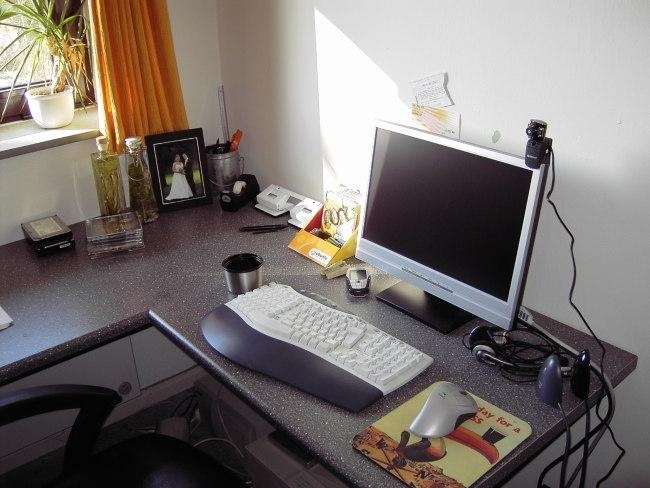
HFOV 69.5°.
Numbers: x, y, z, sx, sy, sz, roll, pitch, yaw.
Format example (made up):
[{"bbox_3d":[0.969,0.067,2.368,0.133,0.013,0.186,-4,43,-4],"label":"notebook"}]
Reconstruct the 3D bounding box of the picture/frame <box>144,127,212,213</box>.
[{"bbox_3d":[-0.625,-0.305,1.944,0.288,0.402,0.025,-12,21,-20],"label":"picture/frame"}]

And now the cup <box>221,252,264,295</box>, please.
[{"bbox_3d":[-0.253,0.089,1.491,0.116,0.096,0.128,8,34,15],"label":"cup"}]

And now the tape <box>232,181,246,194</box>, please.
[{"bbox_3d":[-0.366,-0.240,1.988,0.040,0.065,0.014,14,-19,-6],"label":"tape"}]

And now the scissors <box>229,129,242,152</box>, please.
[{"bbox_3d":[-0.397,-0.471,2.099,0.056,0.118,0.200,-3,26,-10],"label":"scissors"}]

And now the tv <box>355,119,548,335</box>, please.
[{"bbox_3d":[0.324,-0.056,1.331,0.201,0.522,0.535,-24,34,-37],"label":"tv"}]

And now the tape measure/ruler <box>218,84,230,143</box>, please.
[{"bbox_3d":[-0.465,-0.599,2.156,0.030,0.301,0.014,-13,30,-20],"label":"tape measure/ruler"}]

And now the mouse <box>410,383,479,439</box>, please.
[{"bbox_3d":[0.279,0.368,1.072,0.183,0.063,0.113,-16,26,-34],"label":"mouse"}]
